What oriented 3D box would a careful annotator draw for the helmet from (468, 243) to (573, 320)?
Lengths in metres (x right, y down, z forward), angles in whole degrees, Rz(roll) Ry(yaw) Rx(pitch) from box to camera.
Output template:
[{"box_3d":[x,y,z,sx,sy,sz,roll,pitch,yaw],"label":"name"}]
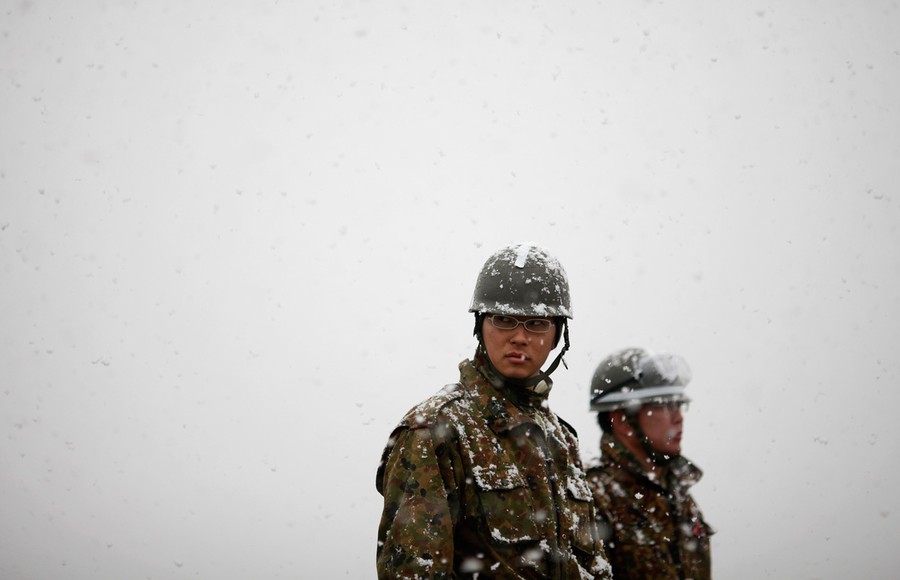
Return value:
[{"box_3d":[0.519,-0.087,10.645,0.533,0.388,0.582,12,-13,-23],"label":"helmet"}]
